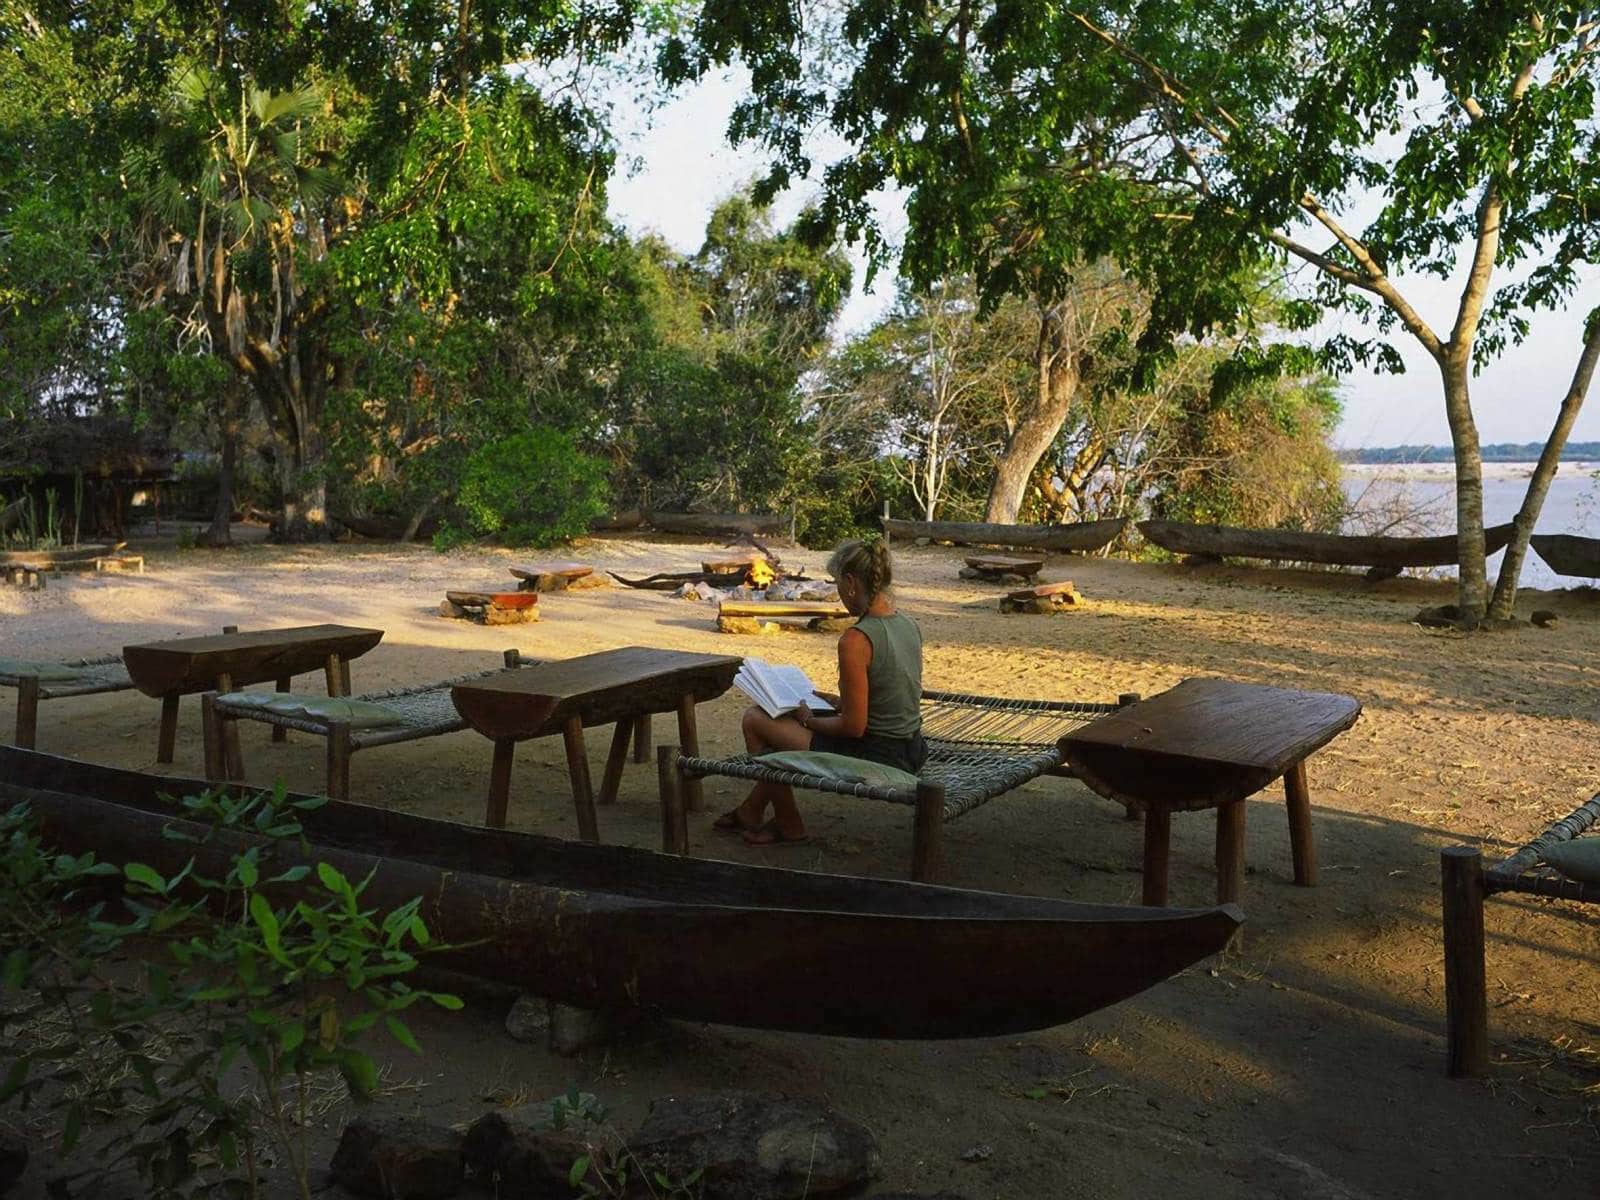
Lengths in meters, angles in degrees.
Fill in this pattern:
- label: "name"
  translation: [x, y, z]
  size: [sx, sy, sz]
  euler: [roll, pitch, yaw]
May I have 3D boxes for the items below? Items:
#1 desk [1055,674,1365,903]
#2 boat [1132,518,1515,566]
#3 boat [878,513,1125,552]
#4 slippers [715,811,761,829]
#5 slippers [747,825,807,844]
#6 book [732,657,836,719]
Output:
- label: "desk"
  translation: [1.558, 0.441, 4.197]
  size: [0.888, 0.719, 1.671]
  euler: [1, 9, 36]
- label: "boat"
  translation: [7.733, -0.882, 17.264]
  size: [4.381, 0.583, 0.840]
  euler: [4, 5, 31]
- label: "boat"
  translation: [4.000, -1.323, 21.595]
  size: [4.631, 0.688, 0.578]
  euler: [5, 5, 36]
- label: "slippers"
  translation: [-0.299, 1.075, 5.316]
  size: [0.222, 0.051, 0.081]
  euler: [1, 0, -17]
- label: "slippers"
  translation: [-0.112, 1.101, 5.161]
  size: [0.264, 0.064, 0.094]
  euler: [1, 0, 5]
- label: "book"
  translation: [-0.070, 0.425, 5.256]
  size: [0.326, 0.117, 0.333]
  euler: [28, 15, 35]
